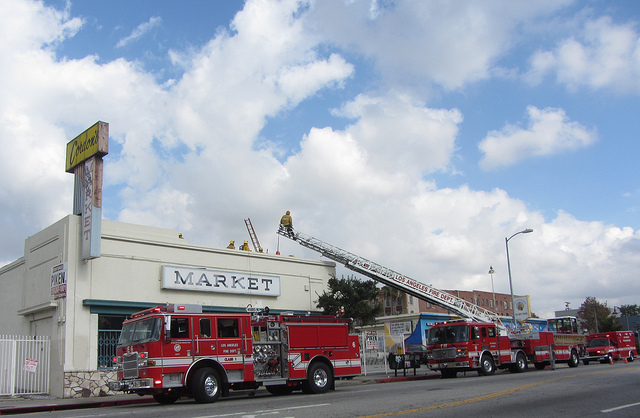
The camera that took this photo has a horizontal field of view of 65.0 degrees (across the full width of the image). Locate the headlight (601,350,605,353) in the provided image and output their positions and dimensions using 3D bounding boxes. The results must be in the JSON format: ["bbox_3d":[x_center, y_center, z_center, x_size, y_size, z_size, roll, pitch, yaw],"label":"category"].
[{"bbox_3d":[23.599,11.900,41.684,0.209,0.208,0.108,0,-16,4],"label":"headlight"}]

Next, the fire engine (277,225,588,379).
[{"bbox_3d":[8.843,7.323,35.859,21.490,7.666,4.578,5,-14,-17],"label":"fire engine"}]

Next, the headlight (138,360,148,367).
[{"bbox_3d":[-7.566,6.604,21.429,0.532,0.274,0.084,-16,-21,24],"label":"headlight"}]

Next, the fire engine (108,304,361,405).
[{"bbox_3d":[-4.004,6.636,23.205,13.374,4.964,4.876,3,-13,-20],"label":"fire engine"}]

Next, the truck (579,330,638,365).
[{"bbox_3d":[24.846,11.649,42.807,3.469,2.644,5.288,-16,-25,42],"label":"truck"}]

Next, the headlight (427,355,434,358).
[{"bbox_3d":[7.315,9.637,32.780,0.100,0.203,0.487,1,-21,-19],"label":"headlight"}]

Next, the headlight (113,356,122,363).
[{"bbox_3d":[-9.139,6.806,22.643,0.302,0.444,0.508,0,-2,-31],"label":"headlight"}]
